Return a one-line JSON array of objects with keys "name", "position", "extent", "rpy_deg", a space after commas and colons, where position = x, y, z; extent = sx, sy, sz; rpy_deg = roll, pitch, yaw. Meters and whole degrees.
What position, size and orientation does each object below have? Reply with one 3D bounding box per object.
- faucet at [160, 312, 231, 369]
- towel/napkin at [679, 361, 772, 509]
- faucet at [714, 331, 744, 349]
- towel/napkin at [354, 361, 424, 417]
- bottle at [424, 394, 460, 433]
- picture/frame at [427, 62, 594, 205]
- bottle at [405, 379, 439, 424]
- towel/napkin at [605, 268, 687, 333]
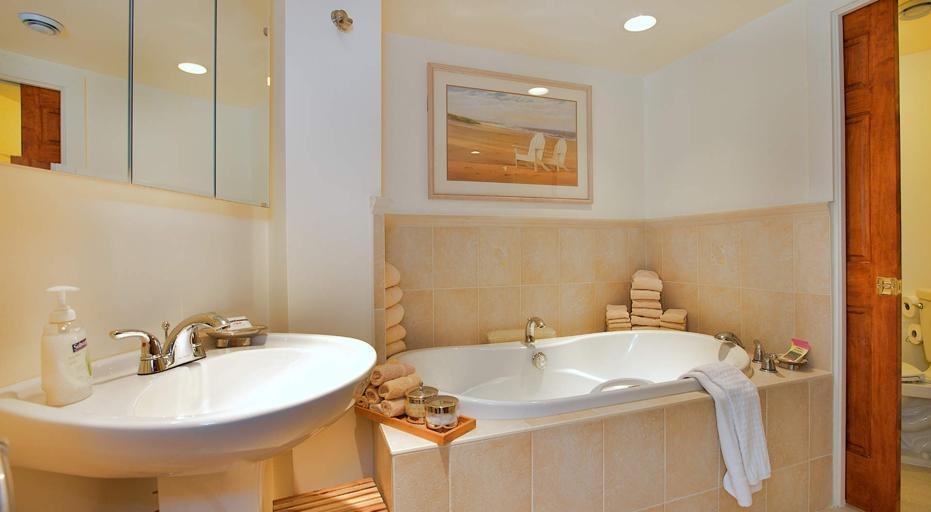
[{"name": "faucet", "position": [-1.324, 0.406, 2.917], "extent": [0.348, 0.235, 0.234], "rpy_deg": [-1, 3, 0]}, {"name": "towel/napkin", "position": [1.568, 0.995, 3.457], "extent": [0.575, 0.714, 0.230], "rpy_deg": [1, -8, -30]}, {"name": "faucet", "position": [1.734, 0.552, 3.975], "extent": [0.179, 0.063, 0.095], "rpy_deg": [-2, 5, -37]}, {"name": "towel/napkin", "position": [-0.419, 0.722, 3.383], "extent": [0.341, 0.143, 0.346], "rpy_deg": [-2, -2, 39]}, {"name": "bottle", "position": [-0.118, 0.819, 3.129], "extent": [0.178, 0.114, 0.165], "rpy_deg": [0, -1, 0]}, {"name": "picture/frame", "position": [0.268, -0.874, 4.316], "extent": [1.233, 0.757, 0.051], "rpy_deg": [1, -3, -20]}, {"name": "bottle", "position": [-0.241, 0.786, 3.228], "extent": [0.186, 0.183, 0.174], "rpy_deg": [0, 6, -3]}, {"name": "towel/napkin", "position": [1.341, 0.328, 4.458], "extent": [0.562, 0.426, 0.245], "rpy_deg": [-1, 1, 16]}]
